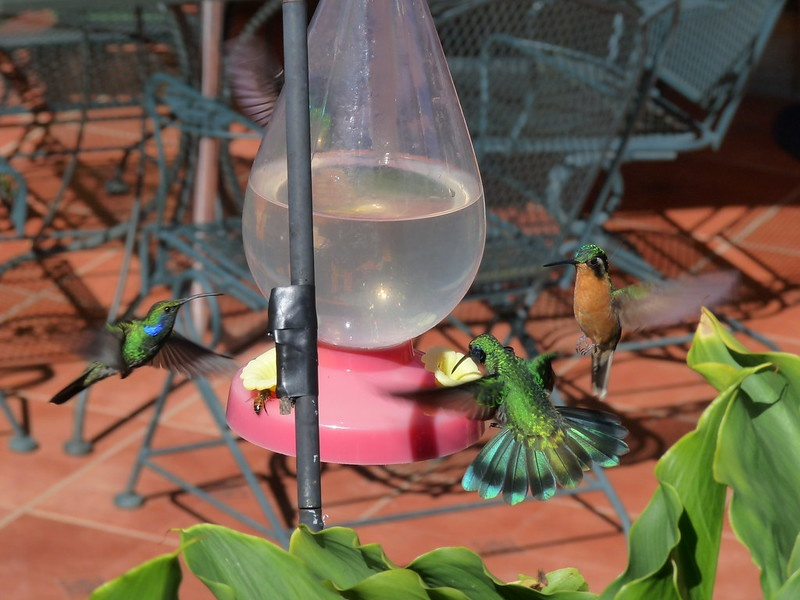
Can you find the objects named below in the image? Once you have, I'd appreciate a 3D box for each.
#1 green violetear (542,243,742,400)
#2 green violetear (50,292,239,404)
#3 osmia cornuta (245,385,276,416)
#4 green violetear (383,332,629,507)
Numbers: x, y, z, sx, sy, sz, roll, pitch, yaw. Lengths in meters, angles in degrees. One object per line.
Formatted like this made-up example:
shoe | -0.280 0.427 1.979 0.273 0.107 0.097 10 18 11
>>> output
green violetear | 0.411 0.050 1.848 0.285 0.254 0.451 23 -9 -17
green violetear | -0.456 0.081 1.720 0.320 0.133 0.335 4 14 22
osmia cornuta | -0.209 0.147 1.452 0.033 0.013 0.043 3 43 30
green violetear | 0.207 0.168 1.577 0.376 0.163 0.310 -24 35 -35
